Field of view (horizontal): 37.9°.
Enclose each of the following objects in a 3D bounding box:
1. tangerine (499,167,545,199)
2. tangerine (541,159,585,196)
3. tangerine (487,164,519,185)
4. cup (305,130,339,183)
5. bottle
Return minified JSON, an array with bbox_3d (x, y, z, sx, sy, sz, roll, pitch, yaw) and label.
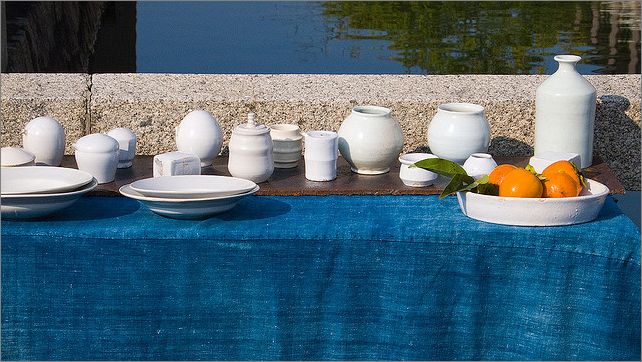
[{"bbox_3d":[0.935,0.019,4.367,0.163,0.145,0.160,32,-20,-19],"label":"tangerine"},{"bbox_3d":[1.174,-0.021,4.458,0.188,0.186,0.180,-1,0,2],"label":"tangerine"},{"bbox_3d":[0.863,-0.038,4.434,0.117,0.099,0.103,-9,36,0],"label":"tangerine"},{"bbox_3d":[-0.007,-0.127,4.670,0.145,0.259,0.151,5,3,0],"label":"cup"},{"bbox_3d":[1.242,-0.339,4.835,0.269,0.621,0.294,1,2,0],"label":"bottle"}]
